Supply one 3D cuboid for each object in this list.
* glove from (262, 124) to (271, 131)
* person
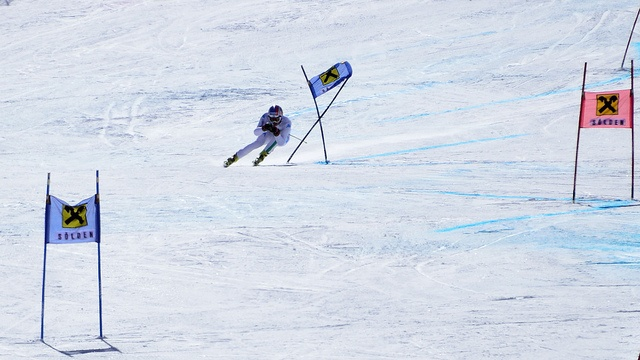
[{"bbox_3d":[-2.222,-2.201,49.490,0.421,0.262,0.140,3,-1,22],"label":"glove"},{"bbox_3d":[-2.473,-1.851,49.511,2.220,2.594,0.707,5,0,-2],"label":"person"}]
